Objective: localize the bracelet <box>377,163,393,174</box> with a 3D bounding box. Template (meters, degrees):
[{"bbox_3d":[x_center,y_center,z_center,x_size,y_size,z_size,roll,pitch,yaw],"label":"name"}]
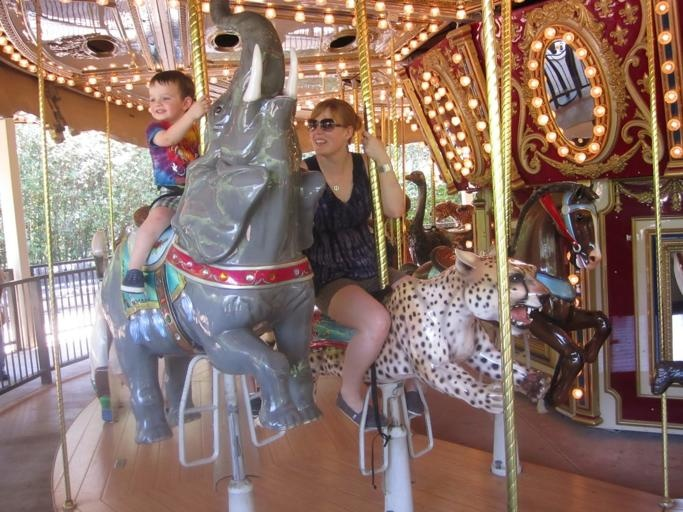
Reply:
[{"bbox_3d":[0.223,-0.464,3.047,0.043,0.048,0.051,12,35,2],"label":"bracelet"}]
